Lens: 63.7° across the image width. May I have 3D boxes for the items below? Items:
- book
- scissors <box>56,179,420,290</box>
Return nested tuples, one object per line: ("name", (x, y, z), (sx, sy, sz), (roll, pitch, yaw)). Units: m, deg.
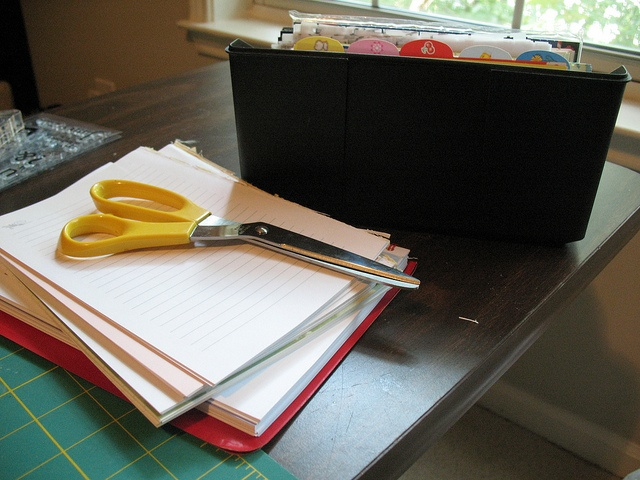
("book", (-0.144, 0.080, 0.523), (0.305, 0.058, 0.303), (25, 46, 21))
("scissors", (-0.106, 0.001, 0.545), (0.393, 0.028, 0.134), (11, 28, 8))
